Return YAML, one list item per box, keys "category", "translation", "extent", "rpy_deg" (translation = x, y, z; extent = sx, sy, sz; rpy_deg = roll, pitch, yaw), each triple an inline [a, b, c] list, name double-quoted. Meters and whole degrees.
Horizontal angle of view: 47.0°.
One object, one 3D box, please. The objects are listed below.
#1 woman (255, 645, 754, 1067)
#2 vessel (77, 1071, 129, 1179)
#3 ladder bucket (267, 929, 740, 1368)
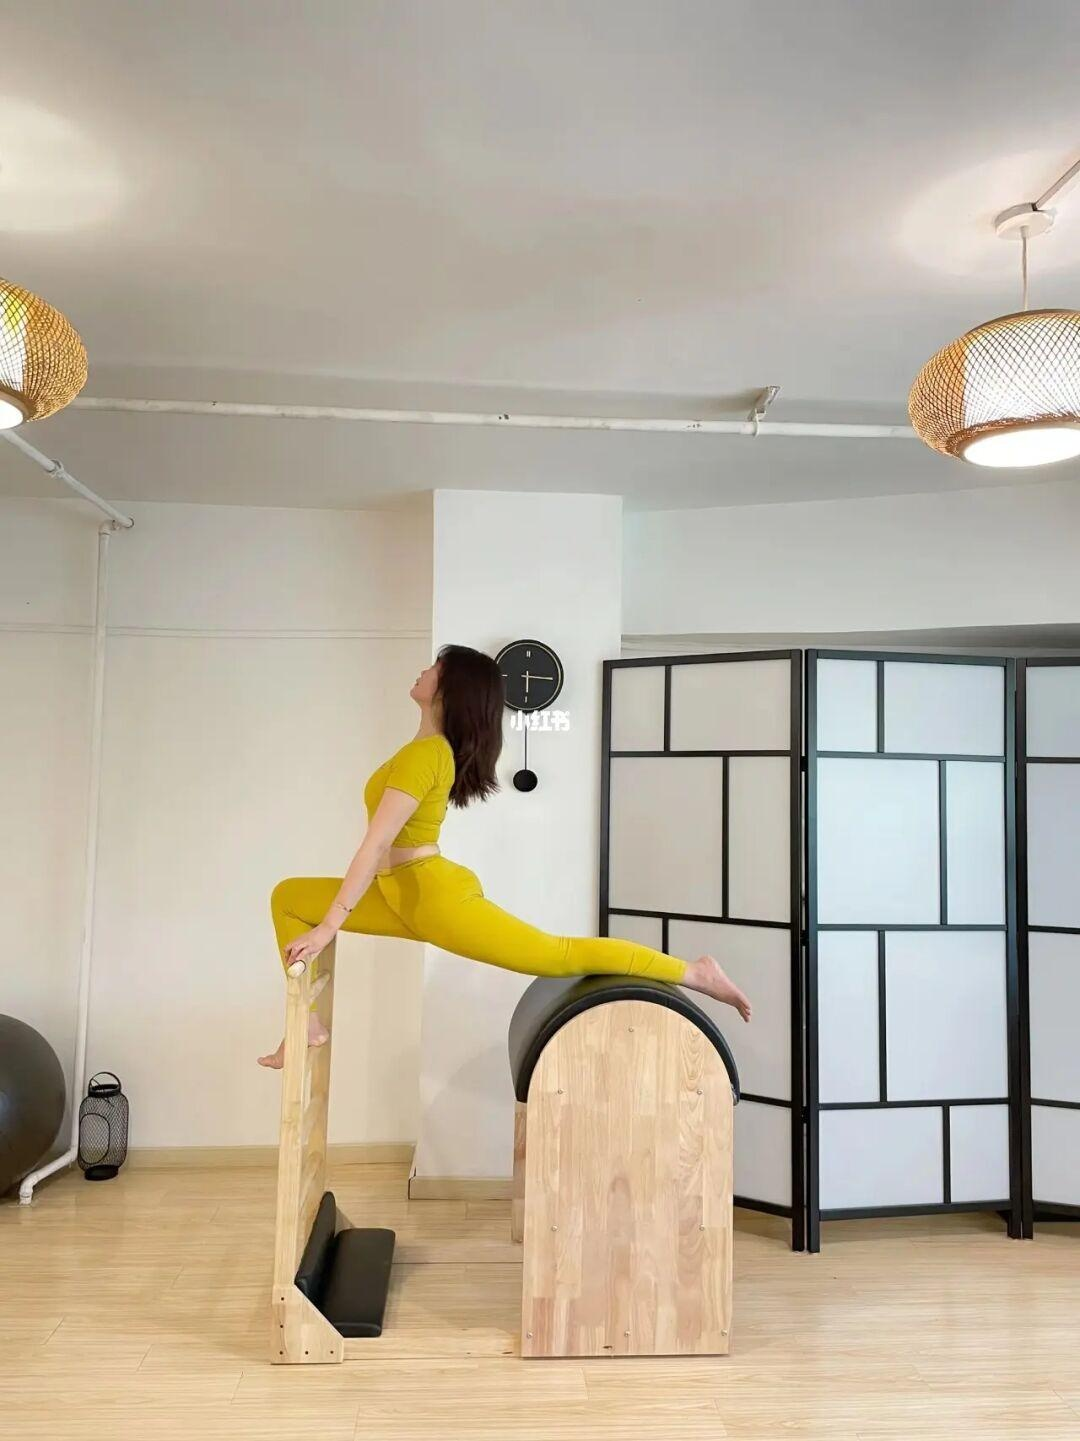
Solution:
- category: "woman"
  translation: [-0.116, 0.397, 3.361]
  extent: [1.437, 1.130, 0.597]
  rpy_deg: [4, -6, 22]
- category: "vessel"
  translation: [-1.636, 1.546, 4.679]
  extent: [0.213, 0.330, 0.165]
  rpy_deg: [3, -5, -35]
- category: "ladder bucket"
  translation: [-0.081, 1.207, 3.743]
  extent: [1.271, 1.333, 0.847]
  rpy_deg: [0, -5, -3]
